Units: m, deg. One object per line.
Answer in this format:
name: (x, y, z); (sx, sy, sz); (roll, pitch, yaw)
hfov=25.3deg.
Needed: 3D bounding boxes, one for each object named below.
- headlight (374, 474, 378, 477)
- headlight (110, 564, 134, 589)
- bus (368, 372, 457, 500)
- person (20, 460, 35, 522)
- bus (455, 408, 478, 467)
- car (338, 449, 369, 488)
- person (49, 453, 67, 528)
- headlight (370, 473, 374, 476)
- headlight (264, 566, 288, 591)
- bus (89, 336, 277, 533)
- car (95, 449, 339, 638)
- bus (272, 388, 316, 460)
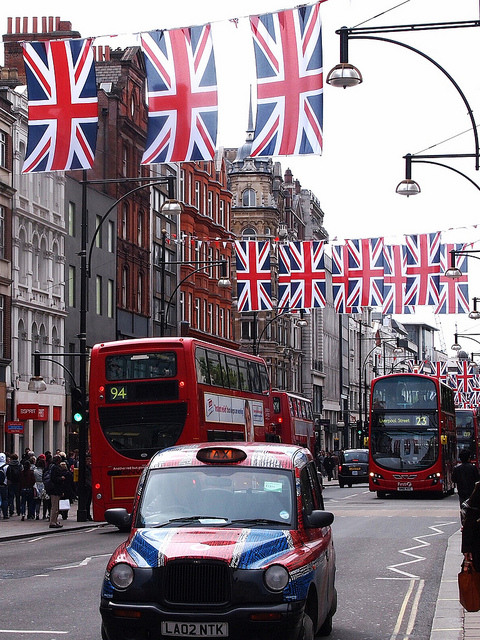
headlight: (4.562, 5.245, 36.015); (0.072, 0.106, 0.047); (0, 4, -2)
headlight: (-0.713, 1.547, 6.426); (0.187, 0.139, 0.064); (-6, -7, 35)
bus: (6.325, 5.199, 38.104); (2.091, 4.623, 7.693); (-3, -23, 16)
person: (-5.587, 4.491, 27.991); (0.366, 1.550, 1.617); (0, -6, -11)
bus: (10.896, 5.542, 51.301); (0.984, 2.679, 3.698); (-2, -7, 13)
car: (5.642, 7.449, 53.228); (1.225, 1.598, 2.527); (0, 2, 6)
person: (-4.368, 4.090, 25.508); (0.409, 1.699, 1.251); (0, -6, -7)
headlight: (4.453, 5.231, 36.111); (0.062, 0.107, 0.073); (9, 11, 15)
headlight: (0.213, 1.534, 6.341); (0.099, 0.151, 0.124); (3, 3, 4)
bus: (-0.864, 2.421, 24.905); (2.058, 4.412, 6.703); (8, 1, 23)
car: (-0.116, 1.509, 7.156); (1.439, 1.307, 1.932); (-2, -7, 6)
bus: (2.084, 4.275, 40.691); (0.739, 2.741, 4.362); (-6, -9, 18)
